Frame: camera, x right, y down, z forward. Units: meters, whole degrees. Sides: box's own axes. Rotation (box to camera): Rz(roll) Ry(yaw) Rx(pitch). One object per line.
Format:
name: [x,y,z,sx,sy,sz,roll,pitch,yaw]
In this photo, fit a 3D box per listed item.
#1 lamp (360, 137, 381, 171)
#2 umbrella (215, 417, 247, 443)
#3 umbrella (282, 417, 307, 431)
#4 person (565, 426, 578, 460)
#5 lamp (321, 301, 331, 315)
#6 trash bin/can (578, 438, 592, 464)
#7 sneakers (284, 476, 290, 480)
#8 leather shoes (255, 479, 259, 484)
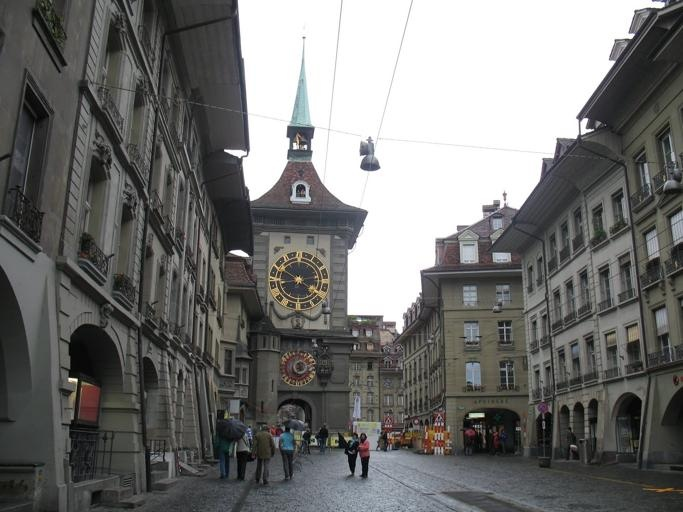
lamp: [1.012,-3.452,20.974,0.660,1.616,1.064,-1,-20,2]
umbrella: [-3.805,5.952,20.651,1.056,0.762,0.609,-12,-24,27]
umbrella: [-1.672,6.056,21.578,0.980,0.403,1.057,13,-19,-6]
person: [13.292,10.609,34.140,0.493,1.833,1.254,-8,-22,20]
lamp: [-1.614,4.886,56.336,0.900,1.671,1.018,1,-2,-33]
trash bin/can: [12.506,9.889,30.440,0.612,1.342,1.848,-8,-23,20]
sneakers: [-1.842,7.569,20.390,0.106,0.090,0.150,-2,-5,-1]
leather shoes: [-2.719,7.300,19.379,0.111,0.237,0.224,1,-27,-7]
